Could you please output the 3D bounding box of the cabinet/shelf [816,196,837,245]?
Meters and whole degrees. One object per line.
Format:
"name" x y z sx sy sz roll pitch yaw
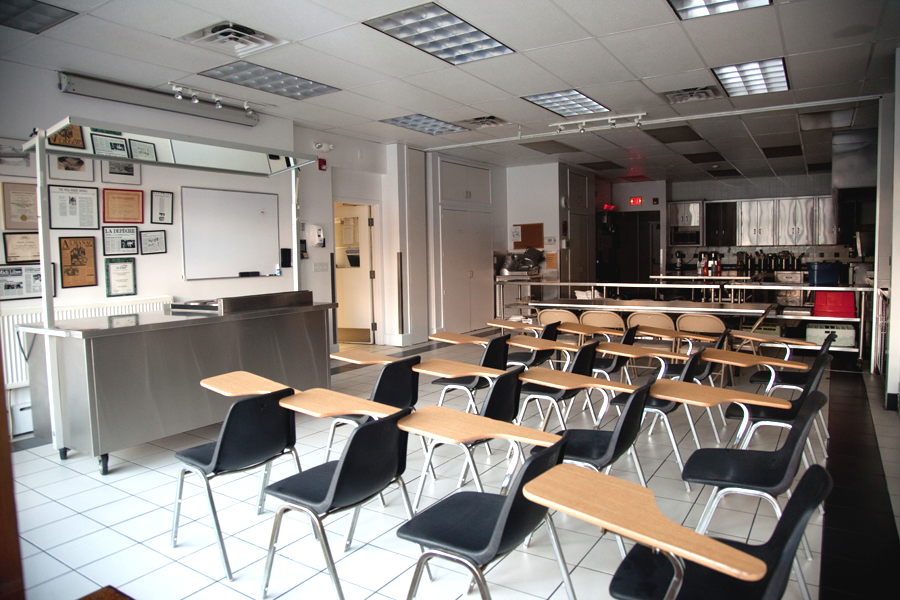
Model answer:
"cabinet/shelf" 8.460 -1.811 12.927 0.284 1.102 0.399 -2 7 14

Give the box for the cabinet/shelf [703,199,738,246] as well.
"cabinet/shelf" 6.633 -1.860 14.023 0.672 1.119 0.193 0 8 28

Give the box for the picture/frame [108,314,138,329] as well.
"picture/frame" -3.181 0.203 5.570 0.246 0.052 0.245 5 7 36

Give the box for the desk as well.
"desk" -2.923 0.805 6.429 1.442 1.241 2.771 0 4 38

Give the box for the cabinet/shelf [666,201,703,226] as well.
"cabinet/shelf" 5.844 -2.158 14.246 0.726 0.555 0.278 1 1 34

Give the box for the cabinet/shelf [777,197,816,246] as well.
"cabinet/shelf" 7.987 -1.828 13.275 0.674 1.077 0.186 0 8 26

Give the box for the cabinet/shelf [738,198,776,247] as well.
"cabinet/shelf" 7.303 -1.853 13.672 0.751 1.090 0.193 0 8 26

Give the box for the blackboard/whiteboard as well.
"blackboard/whiteboard" -3.050 -0.927 7.812 0.156 1.149 1.513 1 4 38
